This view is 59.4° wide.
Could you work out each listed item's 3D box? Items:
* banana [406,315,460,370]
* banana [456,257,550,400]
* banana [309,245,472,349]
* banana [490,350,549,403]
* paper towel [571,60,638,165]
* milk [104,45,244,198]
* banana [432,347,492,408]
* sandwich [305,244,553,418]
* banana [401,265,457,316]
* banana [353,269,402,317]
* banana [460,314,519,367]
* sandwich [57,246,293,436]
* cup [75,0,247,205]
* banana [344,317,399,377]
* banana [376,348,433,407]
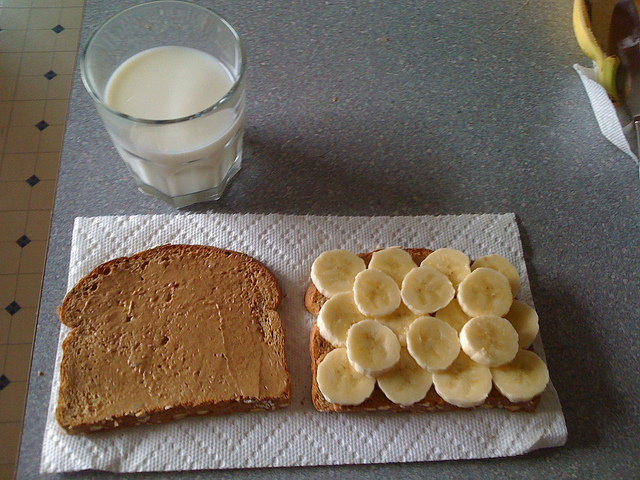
[{"bbox_3d":[0.203,0.187,1.018,0.097,0.018,0.089,23,69,4],"label":"banana"},{"bbox_3d":[0.332,0.172,1.071,0.164,0.072,0.252,-2,73,-13],"label":"banana"},{"bbox_3d":[0.113,0.089,1.124,0.263,0.063,0.183,-33,63,-22],"label":"banana"},{"bbox_3d":[0.368,0.251,1.031,0.093,0.021,0.086,1,57,2],"label":"banana"},{"bbox_3d":[0.644,-0.280,1.251,0.051,0.134,0.233,-17,87,3],"label":"paper towel"},{"bbox_3d":[-0.286,-0.242,1.125,0.255,0.247,0.255,-23,73,-12],"label":"milk"},{"bbox_3d":[0.261,0.254,1.018,0.115,0.026,0.103,11,60,8],"label":"banana"},{"bbox_3d":[0.175,0.148,0.987,0.460,0.107,0.301,-1,68,-2],"label":"sandwich"},{"bbox_3d":[0.200,0.093,1.047,0.094,0.021,0.086,-1,64,-4],"label":"banana"},{"bbox_3d":[0.100,0.102,1.049,0.082,0.021,0.087,38,61,10],"label":"banana"},{"bbox_3d":[0.309,0.183,1.026,0.096,0.029,0.096,-32,75,-15],"label":"banana"},{"bbox_3d":[-0.277,0.173,1.070,0.421,0.051,0.336,-5,70,-7],"label":"sandwich"},{"bbox_3d":[-0.288,-0.271,1.136,0.289,0.258,0.351,-20,73,-11],"label":"cup"},{"bbox_3d":[0.094,0.194,1.005,0.099,0.024,0.095,4,63,-2],"label":"banana"},{"bbox_3d":[0.155,0.240,0.983,0.089,0.017,0.079,3,61,1],"label":"banana"}]
